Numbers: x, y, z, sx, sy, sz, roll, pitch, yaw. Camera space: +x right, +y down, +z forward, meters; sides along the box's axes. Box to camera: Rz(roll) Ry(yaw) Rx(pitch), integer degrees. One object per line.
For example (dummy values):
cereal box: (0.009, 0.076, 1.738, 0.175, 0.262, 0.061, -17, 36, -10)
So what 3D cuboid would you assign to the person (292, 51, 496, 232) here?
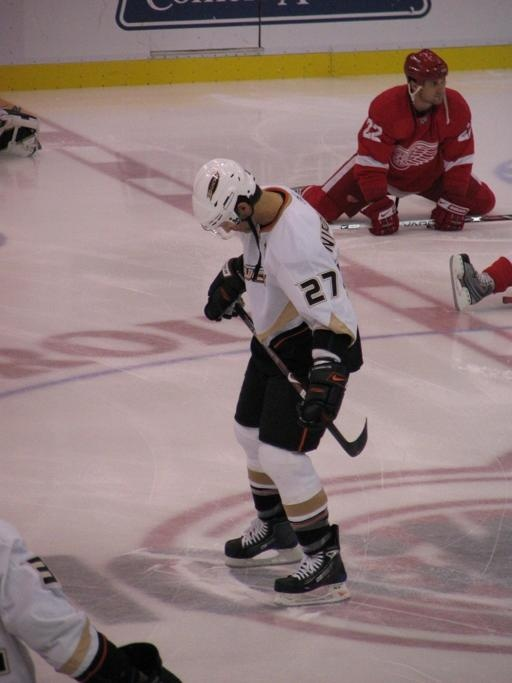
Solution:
person: (1.033, -1.294, 4.608, 1.484, 1.113, 0.751, -7, 32, -10)

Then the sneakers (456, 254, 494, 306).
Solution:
sneakers: (1.121, -0.303, 3.631, 0.206, 0.302, 0.131, -17, 25, -33)

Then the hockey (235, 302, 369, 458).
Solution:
hockey: (0.166, 0.168, 2.270, 0.206, 0.094, 0.891, -40, 23, -3)

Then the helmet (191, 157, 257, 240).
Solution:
helmet: (-0.077, -0.378, 1.846, 0.132, 0.181, 0.146, -20, 26, -38)

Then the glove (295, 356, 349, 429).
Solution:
glove: (0.166, 0.142, 1.754, 0.102, 0.205, 0.115, 4, 22, 18)

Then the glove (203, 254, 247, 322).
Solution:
glove: (-0.111, -0.169, 2.272, 0.102, 0.214, 0.145, 13, 44, -34)

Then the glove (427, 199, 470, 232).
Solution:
glove: (1.290, -0.833, 4.700, 0.268, 0.196, 0.183, 3, 7, -16)

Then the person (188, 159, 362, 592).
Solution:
person: (0.058, 0.104, 2.017, 0.407, 1.218, 0.666, -13, 23, -23)
